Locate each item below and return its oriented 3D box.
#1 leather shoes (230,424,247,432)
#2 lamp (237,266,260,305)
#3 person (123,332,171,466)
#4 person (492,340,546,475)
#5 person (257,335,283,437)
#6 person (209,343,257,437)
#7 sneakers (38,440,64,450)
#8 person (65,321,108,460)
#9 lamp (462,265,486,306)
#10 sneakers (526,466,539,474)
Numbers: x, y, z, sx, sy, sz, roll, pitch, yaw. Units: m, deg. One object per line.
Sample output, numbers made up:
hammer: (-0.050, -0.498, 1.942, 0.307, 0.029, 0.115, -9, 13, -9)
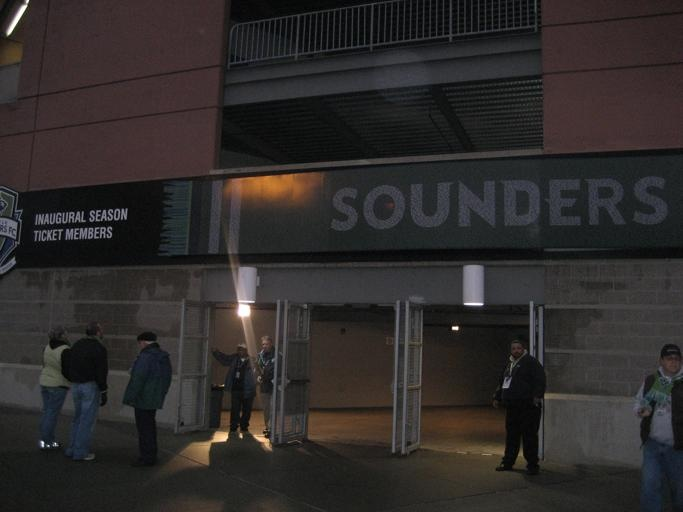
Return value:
leather shoes: (-2.304, 3.909, 14.350, 0.301, 0.116, 0.221, 4, -12, -7)
lamp: (-2.150, 0.685, 14.714, 0.516, 0.864, 0.307, 3, -5, -10)
person: (-3.374, 2.499, 11.180, 0.732, 2.265, 0.470, 3, -5, -17)
person: (3.241, 2.728, 11.609, 0.768, 2.274, 0.408, 0, -5, 19)
person: (-1.694, 2.906, 14.202, 0.341, 2.138, 0.780, 3, -5, -10)
person: (-2.385, 3.011, 14.570, 0.871, 1.976, 0.680, 3, -5, -10)
sneakers: (-5.234, 3.420, 11.616, 0.433, 0.195, 0.153, 2, -5, -8)
person: (-4.412, 2.369, 11.173, 0.643, 2.342, 0.374, 3, -5, -13)
lamp: (2.714, 0.610, 13.254, 0.469, 0.839, 0.333, 1, -5, 9)
sneakers: (3.376, 3.794, 11.353, 0.231, 0.130, 0.188, 2, -5, 5)
